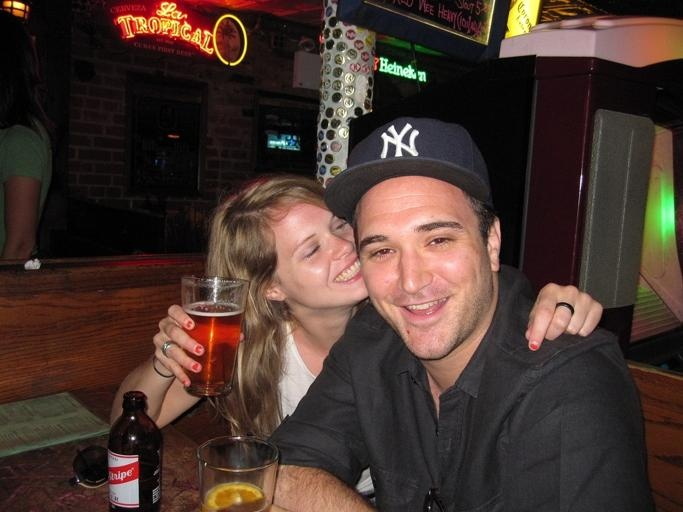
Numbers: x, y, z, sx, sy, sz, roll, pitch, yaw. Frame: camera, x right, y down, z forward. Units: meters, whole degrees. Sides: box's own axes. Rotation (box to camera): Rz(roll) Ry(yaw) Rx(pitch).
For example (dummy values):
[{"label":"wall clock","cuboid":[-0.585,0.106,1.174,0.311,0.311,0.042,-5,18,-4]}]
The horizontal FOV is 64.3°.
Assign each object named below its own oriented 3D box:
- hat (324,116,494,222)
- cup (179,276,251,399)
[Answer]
[{"label":"hat","cuboid":[0.260,-0.283,1.941,0.467,0.239,0.357,21,-19,-26]},{"label":"cup","cuboid":[-0.437,0.305,1.901,0.217,0.457,0.183,-1,7,-24]}]
